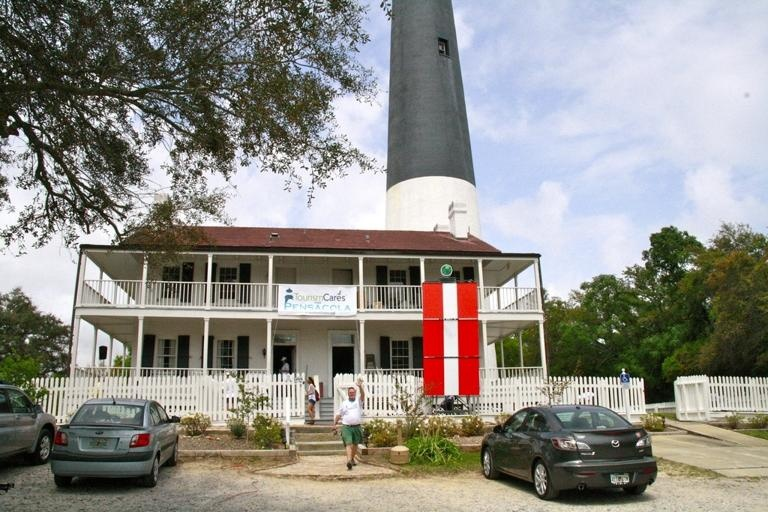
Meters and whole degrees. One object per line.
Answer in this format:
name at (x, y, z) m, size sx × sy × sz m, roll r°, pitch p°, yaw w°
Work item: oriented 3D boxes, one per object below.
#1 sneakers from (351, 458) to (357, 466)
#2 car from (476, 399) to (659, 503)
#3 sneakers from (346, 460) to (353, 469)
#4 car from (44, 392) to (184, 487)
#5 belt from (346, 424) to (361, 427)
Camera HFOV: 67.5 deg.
sneakers at (-0.757, 5.100, 14.238) m, size 0.129 × 0.231 × 0.330 m, roll 3°, pitch -21°, yaw -9°
car at (3.517, 3.971, 12.101) m, size 1.751 × 1.192 × 3.166 m, roll 6°, pitch -14°, yaw -15°
sneakers at (-0.863, 5.033, 13.891) m, size 0.191 × 0.222 × 0.471 m, roll 2°, pitch -20°, yaw -9°
car at (-5.633, 3.899, 12.117) m, size 2.423 × 1.767 × 1.655 m, roll 12°, pitch -19°, yaw -38°
belt at (-0.772, 4.056, 13.838) m, size 0.315 × 0.053 × 0.059 m, roll 7°, pitch -17°, yaw -24°
